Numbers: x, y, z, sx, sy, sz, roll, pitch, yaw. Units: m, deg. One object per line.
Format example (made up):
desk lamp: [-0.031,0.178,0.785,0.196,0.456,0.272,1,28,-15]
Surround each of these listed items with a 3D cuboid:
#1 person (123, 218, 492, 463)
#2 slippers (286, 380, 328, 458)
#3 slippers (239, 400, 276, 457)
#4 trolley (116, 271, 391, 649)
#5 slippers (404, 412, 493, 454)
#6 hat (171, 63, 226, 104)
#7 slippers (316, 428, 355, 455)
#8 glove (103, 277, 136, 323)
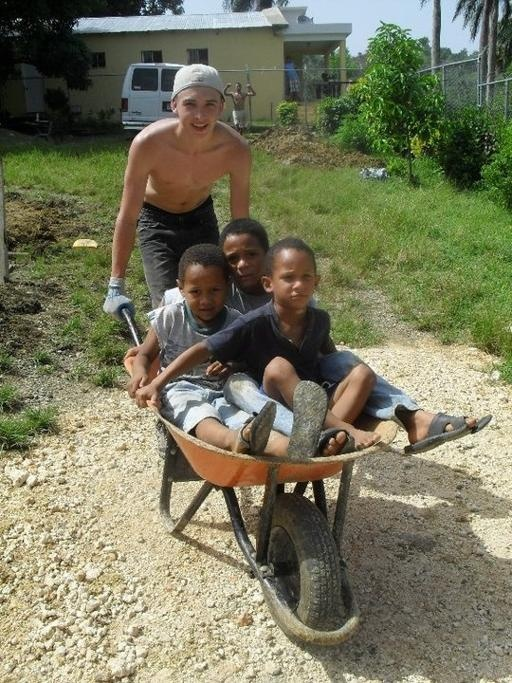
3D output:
person: [0.048,-0.006,2.762,0.762,0.730,1.406,-10,15,-33]
slippers: [0.160,0.253,2.216,0.104,0.245,0.099,7,-7,23]
slippers: [-0.010,0.278,2.169,0.082,0.218,0.087,2,29,-33]
trolley: [-0.013,0.506,2.879,0.753,0.694,1.546,1,14,-26]
slippers: [0.707,0.335,2.574,0.292,0.098,0.153,-27,-13,32]
hat: [-0.282,-1.249,3.320,0.166,0.120,0.231,-5,35,-9]
slippers: [0.257,0.327,2.254,0.124,0.068,0.051,-27,-6,29]
glove: [-0.646,-0.190,3.284,0.151,0.199,0.077,-28,-29,5]
